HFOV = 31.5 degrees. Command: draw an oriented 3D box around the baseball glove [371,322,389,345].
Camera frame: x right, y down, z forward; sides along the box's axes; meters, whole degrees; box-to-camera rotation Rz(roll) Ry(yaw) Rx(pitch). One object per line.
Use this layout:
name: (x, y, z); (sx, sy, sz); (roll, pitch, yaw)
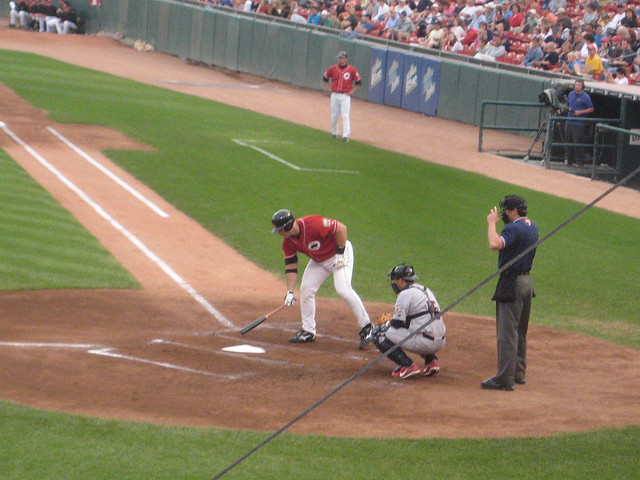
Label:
baseball glove: (0.929, 1.467, 17.879); (0.141, 0.343, 0.243); (20, 43, -18)

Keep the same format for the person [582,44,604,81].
person: (6.746, -4.406, 28.137); (0.418, 0.837, 0.713); (2, 10, -14)

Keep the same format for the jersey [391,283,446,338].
jersey: (1.491, 1.153, 17.704); (0.878, 0.810, 0.793); (4, 18, 37)

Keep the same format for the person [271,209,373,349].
person: (-0.003, 0.625, 18.652); (1.634, 2.189, 0.528); (4, 11, 0)

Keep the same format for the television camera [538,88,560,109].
television camera: (5.510, -3.413, 27.441); (0.509, 0.490, 0.251); (9, 11, 25)

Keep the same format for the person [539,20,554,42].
person: (6.087, -5.609, 30.532); (0.386, 0.531, 1.011); (6, 10, 10)

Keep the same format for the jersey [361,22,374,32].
jersey: (1.507, -7.021, 37.612); (0.440, 0.302, 0.240); (12, 13, 39)

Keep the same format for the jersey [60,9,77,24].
jersey: (-10.614, -9.390, 47.902); (0.596, 0.584, 0.475); (-32, 61, -7)

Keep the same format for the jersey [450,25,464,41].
jersey: (4.018, -6.044, 33.350); (0.432, 0.491, 0.291); (-10, 35, -11)

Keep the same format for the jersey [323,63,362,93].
jersey: (0.531, -4.053, 28.640); (0.915, 0.696, 0.476); (5, 10, 6)

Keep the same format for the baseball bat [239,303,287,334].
baseball bat: (-1.004, 1.354, 19.487); (1.038, 0.088, 0.171); (-27, 51, -33)

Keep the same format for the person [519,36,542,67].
person: (5.697, -5.052, 30.534); (0.494, 0.822, 0.816); (5, 10, 3)

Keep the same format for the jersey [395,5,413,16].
jersey: (2.764, -7.482, 37.352); (0.396, 0.184, 0.534); (-7, 22, -36)
